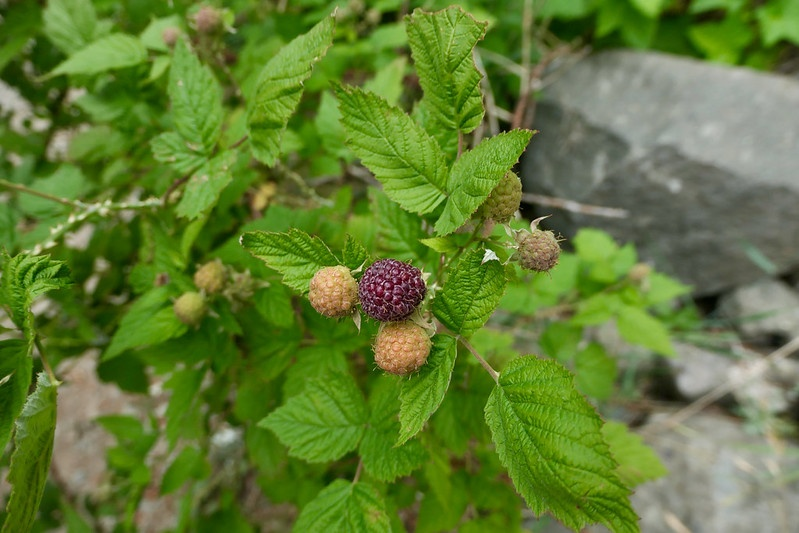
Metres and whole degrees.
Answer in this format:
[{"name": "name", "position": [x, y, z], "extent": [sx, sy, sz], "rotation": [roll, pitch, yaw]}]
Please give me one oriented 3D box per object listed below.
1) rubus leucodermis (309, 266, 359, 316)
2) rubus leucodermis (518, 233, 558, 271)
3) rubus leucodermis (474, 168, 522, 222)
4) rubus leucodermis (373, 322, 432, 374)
[{"name": "rubus leucodermis", "position": [-0.266, 0.095, 2.596], "extent": [0.183, 0.203, 0.220], "rotation": [-6, 20, -12]}, {"name": "rubus leucodermis", "position": [0.513, -0.058, 2.624], "extent": [0.129, 0.142, 0.139], "rotation": [-3, 96, -12]}, {"name": "rubus leucodermis", "position": [0.352, -0.249, 2.588], "extent": [0.132, 0.188, 0.117], "rotation": [8, 35, -15]}, {"name": "rubus leucodermis", "position": [0.011, 0.300, 2.518], "extent": [0.203, 0.098, 0.194], "rotation": [-4, 78, 3]}]
